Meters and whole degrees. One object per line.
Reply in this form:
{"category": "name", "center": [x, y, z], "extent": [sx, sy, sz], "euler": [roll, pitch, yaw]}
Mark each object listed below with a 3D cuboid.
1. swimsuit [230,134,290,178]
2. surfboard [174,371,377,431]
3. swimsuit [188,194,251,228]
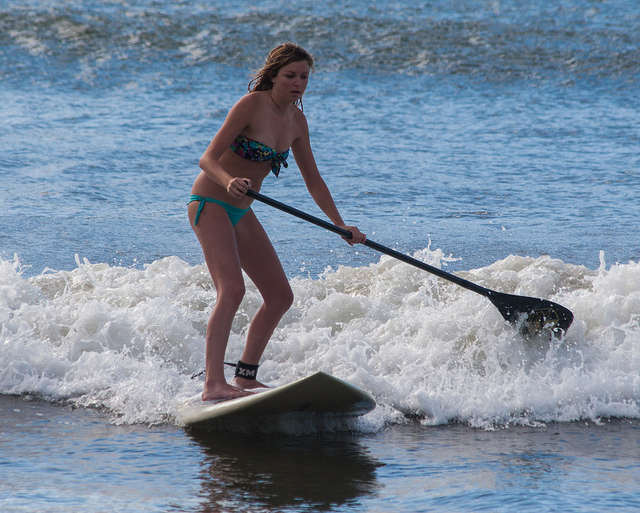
{"category": "swimsuit", "center": [-0.860, -1.421, 17.250], "extent": [0.792, 0.442, 0.598], "euler": [19, 4, 4]}
{"category": "surfboard", "center": [-0.740, 1.883, 17.021], "extent": [2.131, 0.280, 1.092], "euler": [-11, -12, 36]}
{"category": "swimsuit", "center": [-1.447, -0.649, 17.210], "extent": [0.721, 0.315, 0.570], "euler": [-2, -2, -27]}
